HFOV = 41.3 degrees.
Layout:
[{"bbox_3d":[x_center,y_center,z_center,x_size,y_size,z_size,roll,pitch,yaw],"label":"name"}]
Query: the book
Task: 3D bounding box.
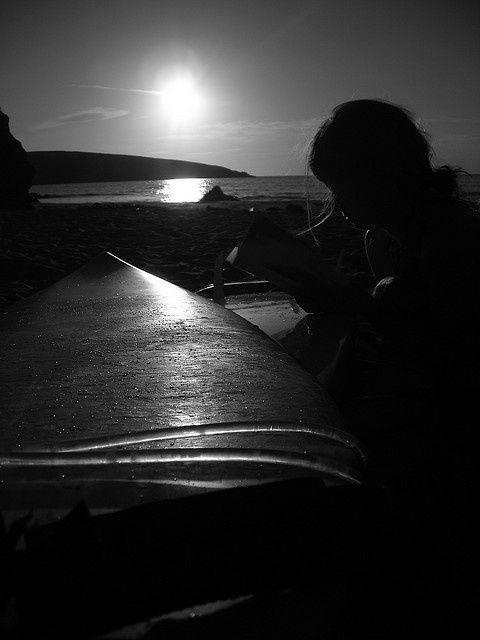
[{"bbox_3d":[0.077,-0.100,1.057,0.196,0.111,0.050,37,16,3],"label":"book"}]
